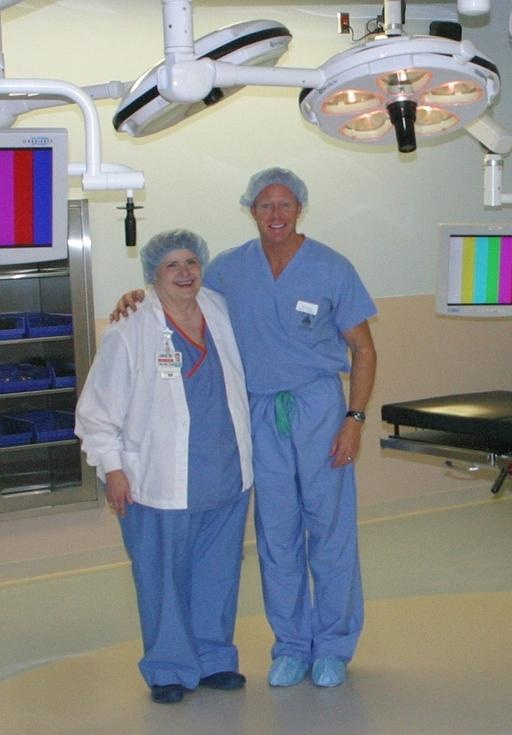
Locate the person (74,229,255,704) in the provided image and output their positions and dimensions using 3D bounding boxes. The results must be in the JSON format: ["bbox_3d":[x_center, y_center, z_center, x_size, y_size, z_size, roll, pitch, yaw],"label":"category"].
[{"bbox_3d":[-0.261,0.267,1.862,0.502,0.926,0.269,-2,-1,-20],"label":"person"}]

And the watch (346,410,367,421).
[{"bbox_3d":[0.305,0.145,1.924,0.047,0.030,0.043,9,2,-42],"label":"watch"}]

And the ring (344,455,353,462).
[{"bbox_3d":[0.277,0.269,1.891,0.020,0.018,0.006,3,18,-35],"label":"ring"}]
